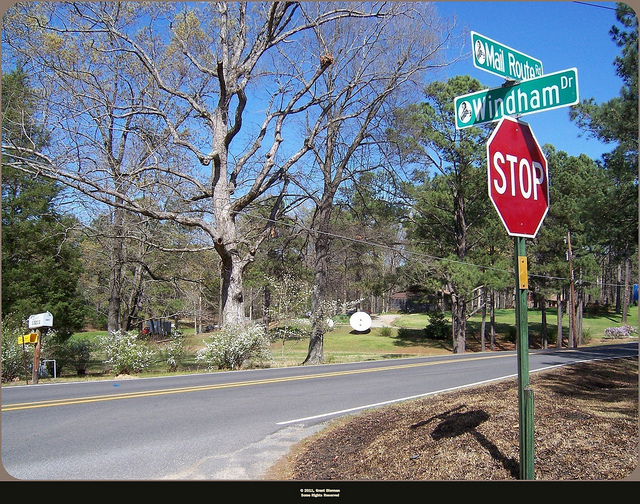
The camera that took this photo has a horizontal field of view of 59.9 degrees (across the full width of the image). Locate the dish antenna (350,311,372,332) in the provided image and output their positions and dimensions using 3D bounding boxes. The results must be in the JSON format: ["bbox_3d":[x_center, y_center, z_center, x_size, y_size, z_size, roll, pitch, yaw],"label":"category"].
[{"bbox_3d":[3.193,5.465,43.996,1.465,1.448,1.659,-1,-9,-3],"label":"dish antenna"}]
